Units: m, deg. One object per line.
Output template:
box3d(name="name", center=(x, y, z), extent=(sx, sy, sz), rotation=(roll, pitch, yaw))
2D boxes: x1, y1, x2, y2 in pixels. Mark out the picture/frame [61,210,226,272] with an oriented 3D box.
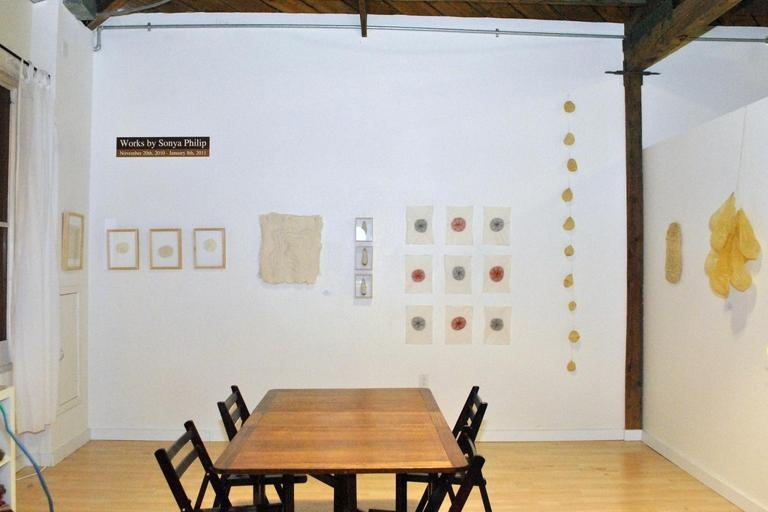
box3d(name="picture/frame", center=(-2.526, -0.134, 6.577), extent=(1.643, 0.594, 0.294), rotation=(1, 0, -13))
